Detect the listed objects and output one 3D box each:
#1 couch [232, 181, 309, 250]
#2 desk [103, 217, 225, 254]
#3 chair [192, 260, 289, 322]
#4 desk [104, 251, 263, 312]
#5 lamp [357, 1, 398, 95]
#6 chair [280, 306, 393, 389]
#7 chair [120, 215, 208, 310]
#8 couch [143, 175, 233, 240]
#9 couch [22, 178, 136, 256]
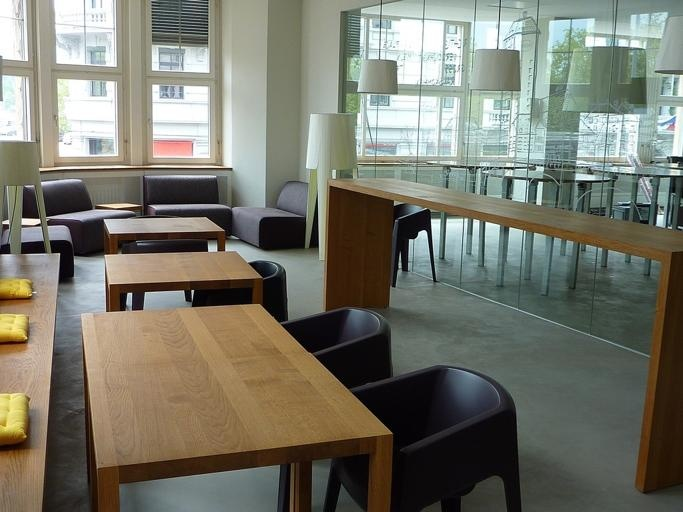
[{"bbox_3d":[-1.062,-0.679,8.053,1.029,0.889,1.384,-6,14,-30],"label":"couch"},{"bbox_3d":[-1.765,-0.160,5.004,1.028,0.419,1.034,3,10,-24],"label":"desk"},{"bbox_3d":[-0.735,0.262,3.724,0.593,0.523,0.501,1,7,-25],"label":"chair"},{"bbox_3d":[-1.164,0.182,3.677,0.995,0.356,1.086,3,10,-24],"label":"desk"},{"bbox_3d":[0.474,-2.066,5.714,0.466,1.053,0.452,-1,11,-17],"label":"lamp"},{"bbox_3d":[-0.002,0.518,2.581,0.494,0.426,0.449,-8,16,-32],"label":"chair"},{"bbox_3d":[-1.704,0.073,5.502,0.873,1.131,0.959,0,0,-3],"label":"chair"},{"bbox_3d":[-2.446,-0.942,8.057,1.631,1.157,1.115,-2,9,-19],"label":"couch"},{"bbox_3d":[-3.632,-0.574,7.105,1.176,1.028,1.195,-1,11,-7],"label":"couch"}]
